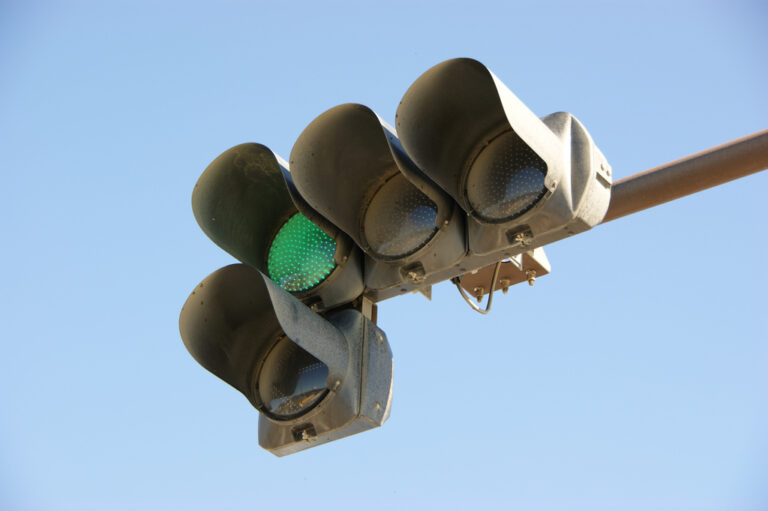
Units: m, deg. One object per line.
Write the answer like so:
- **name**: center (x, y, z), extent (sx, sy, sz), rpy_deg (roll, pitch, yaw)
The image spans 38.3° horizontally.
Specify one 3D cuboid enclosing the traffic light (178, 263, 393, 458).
- **traffic light**: center (-0.522, 0.574, 6.244), extent (0.813, 1.000, 1.239), rpy_deg (-14, -26, 41)
